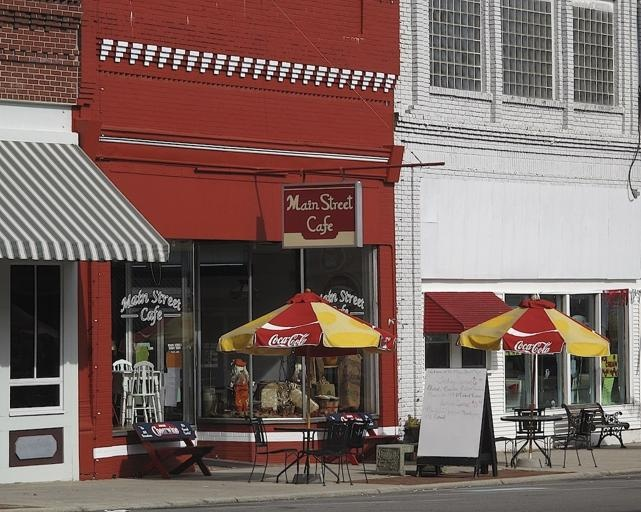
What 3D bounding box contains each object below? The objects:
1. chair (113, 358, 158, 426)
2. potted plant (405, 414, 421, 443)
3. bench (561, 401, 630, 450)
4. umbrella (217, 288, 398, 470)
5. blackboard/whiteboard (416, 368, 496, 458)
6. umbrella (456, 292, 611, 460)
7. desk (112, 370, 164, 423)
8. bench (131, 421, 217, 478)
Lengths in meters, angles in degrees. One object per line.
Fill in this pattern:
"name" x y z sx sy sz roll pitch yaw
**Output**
"chair" -3.546 2.530 27.480 0.861 1.195 1.060 2 -4 -27
"potted plant" 1.742 3.308 28.442 0.413 0.508 0.359 0 -9 0
"bench" 6.029 3.735 33.215 0.829 0.960 1.797 3 -4 -18
"umbrella" -0.196 1.800 26.599 2.957 2.291 2.912 3 -6 -39
"blackboard/whiteboard" 2.399 2.840 27.107 1.193 1.619 0.587 -4 -8 22
"umbrella" 4.082 2.017 28.978 2.782 2.202 2.895 2 -3 30
"desk" -3.299 2.489 27.537 0.801 1.041 1.095 3 -8 -19
"bench" -2.578 3.453 26.680 0.867 0.989 1.517 -5 -6 30
